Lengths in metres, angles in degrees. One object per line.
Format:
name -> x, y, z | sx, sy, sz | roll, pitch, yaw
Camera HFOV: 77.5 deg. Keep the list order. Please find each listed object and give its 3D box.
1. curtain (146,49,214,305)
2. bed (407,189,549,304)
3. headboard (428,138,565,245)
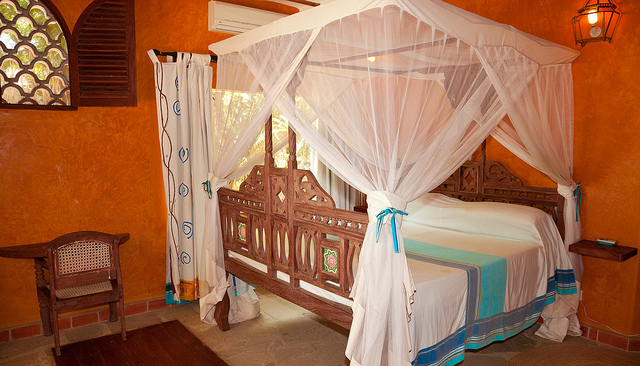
curtain -> -1.694, -0.009, 5.083 | 0.696, 3.189, 0.768 | -2, 16, -14
bed -> 1.645, 0.648, 4.397 | 1.563, 0.552, 1.842 | 11, 18, 32
headboard -> 2.129, 0.127, 4.666 | 1.224, 1.207, 0.047 | 9, 12, 44
